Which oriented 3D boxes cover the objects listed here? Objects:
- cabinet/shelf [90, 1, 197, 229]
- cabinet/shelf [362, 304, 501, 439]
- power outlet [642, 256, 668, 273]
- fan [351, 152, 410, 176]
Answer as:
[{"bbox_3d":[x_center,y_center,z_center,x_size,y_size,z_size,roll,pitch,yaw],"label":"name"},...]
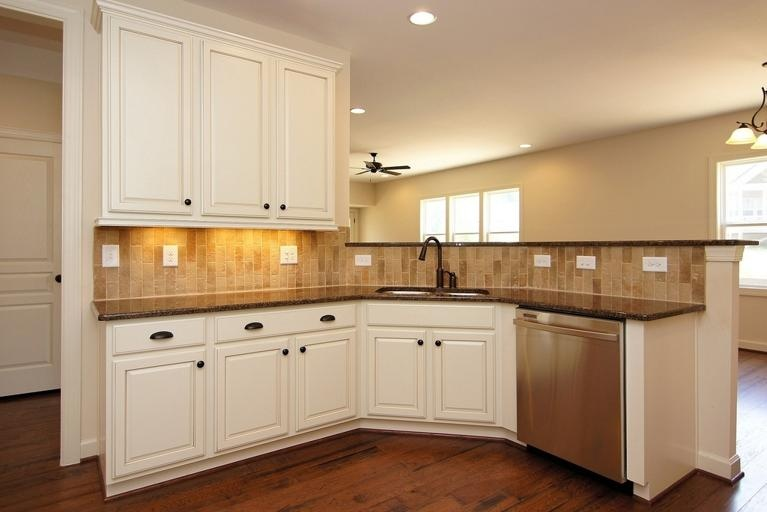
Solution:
[{"bbox_3d":[-1.769,-1.041,3.784,0.709,1.536,0.224,-3,10,-19],"label":"cabinet/shelf"},{"bbox_3d":[0.449,0.915,4.139,1.151,0.952,0.470,0,-3,10],"label":"cabinet/shelf"},{"bbox_3d":[2.128,0.057,3.937,0.111,0.139,0.200,-3,4,-44],"label":"power outlet"},{"bbox_3d":[-0.050,-1.501,8.508,0.578,0.220,0.642,1,-1,21],"label":"fan"}]
